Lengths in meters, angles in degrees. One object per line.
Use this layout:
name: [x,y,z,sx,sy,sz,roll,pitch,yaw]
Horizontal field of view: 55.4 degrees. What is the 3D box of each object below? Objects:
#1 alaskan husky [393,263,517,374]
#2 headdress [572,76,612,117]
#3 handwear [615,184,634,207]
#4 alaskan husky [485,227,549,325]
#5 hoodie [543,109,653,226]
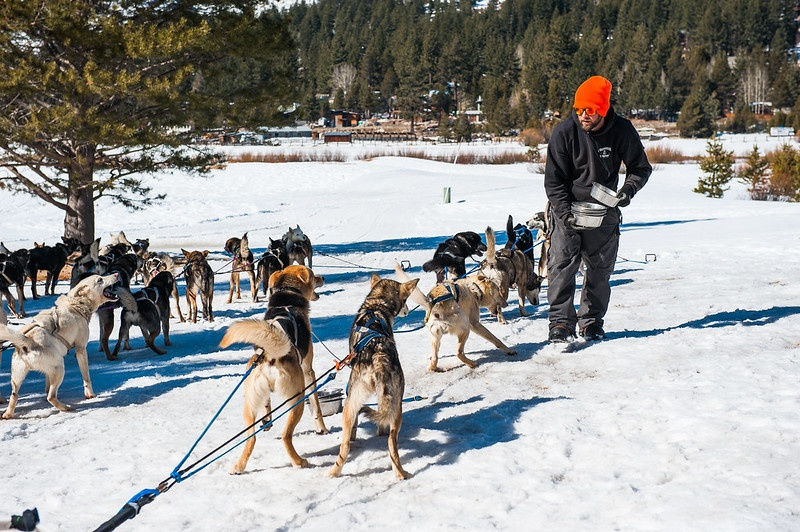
alaskan husky: [0.664,0.664,9.918,1.001,1.350,2.144,-7,-3,37]
headdress: [2.346,-2.074,9.265,0.501,0.503,0.348,-11,11,-39]
handwear: [2.780,-0.885,9.371,0.104,0.216,0.294,24,51,13]
alaskan husky: [1.660,0.120,11.819,0.557,1.397,2.130,8,5,29]
hoodie: [2.435,-1.283,9.537,1.250,1.337,0.522,-2,9,10]
